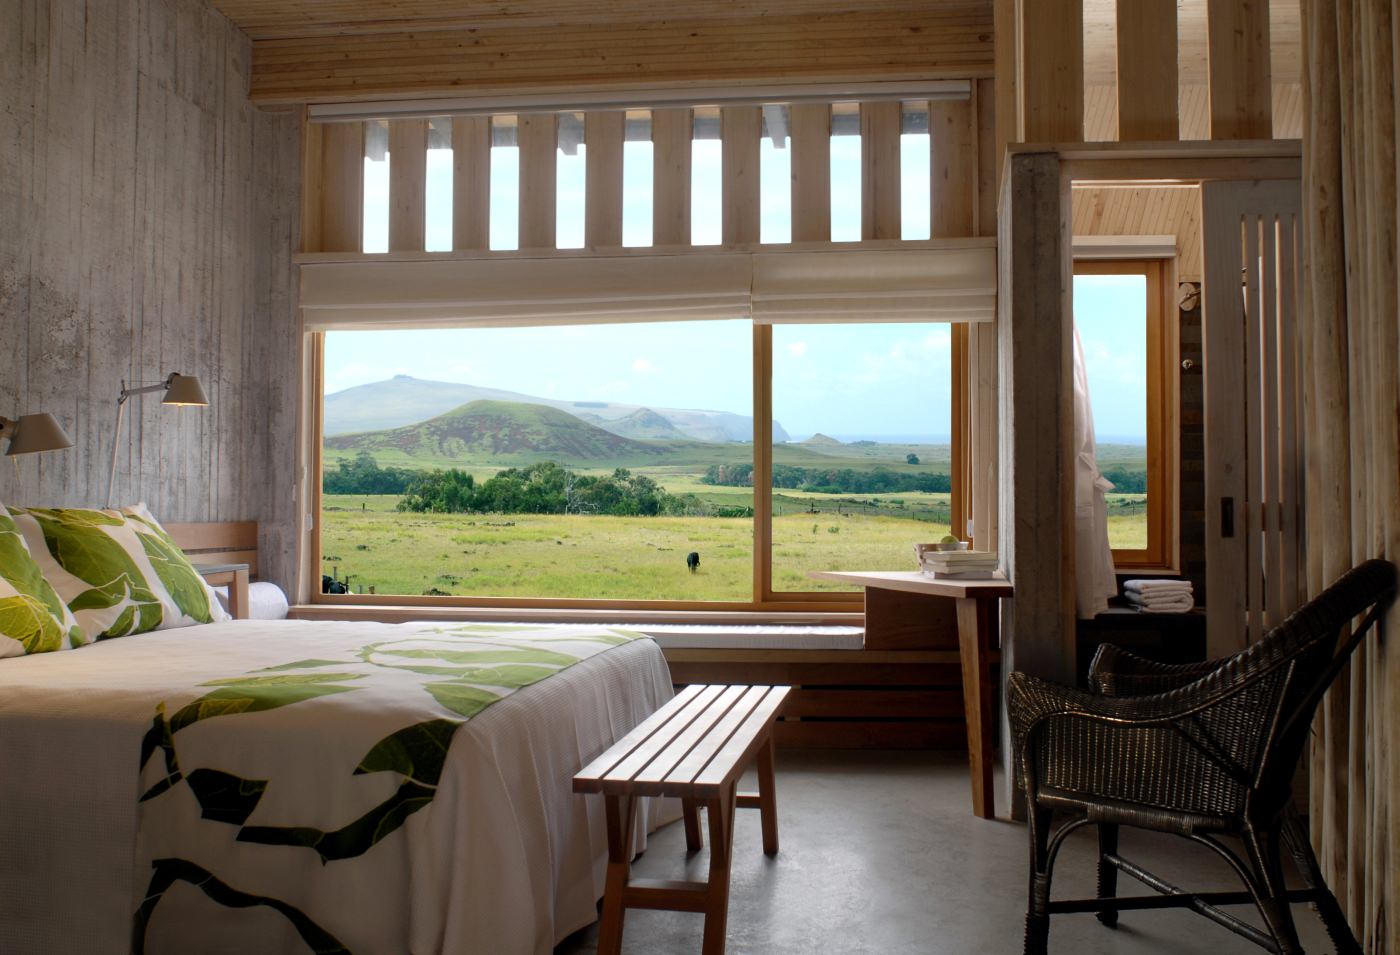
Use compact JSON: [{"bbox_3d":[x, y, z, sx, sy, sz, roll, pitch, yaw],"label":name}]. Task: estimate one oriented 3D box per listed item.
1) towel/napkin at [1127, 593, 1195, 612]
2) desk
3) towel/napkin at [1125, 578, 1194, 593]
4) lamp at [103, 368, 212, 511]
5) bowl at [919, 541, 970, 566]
[{"bbox_3d":[2.278,0.612,6.139,0.150,0.062,0.156,-1,2,-12],"label":"towel/napkin"},{"bbox_3d":[1.198,0.985,5.873,0.341,1.013,0.728,-1,3,-33],"label":"desk"},{"bbox_3d":[2.261,0.539,6.153,0.144,0.048,0.154,-2,1,-13],"label":"towel/napkin"},{"bbox_3d":[-2.736,-0.194,6.227,0.458,0.667,0.620,-1,3,-26],"label":"lamp"},{"bbox_3d":[1.175,0.361,6.150,0.158,0.102,0.162,-1,0,0],"label":"bowl"}]
